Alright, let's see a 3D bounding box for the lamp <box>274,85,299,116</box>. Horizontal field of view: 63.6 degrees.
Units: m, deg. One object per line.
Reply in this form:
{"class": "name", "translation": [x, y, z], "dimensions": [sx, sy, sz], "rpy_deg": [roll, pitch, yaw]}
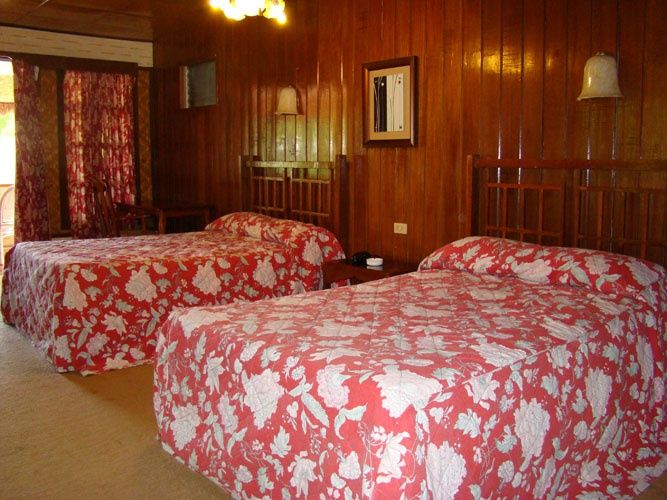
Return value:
{"class": "lamp", "translation": [-0.414, -1.361, 4.884], "dimensions": [0.230, 0.296, 0.240], "rpy_deg": [6, 14, 20]}

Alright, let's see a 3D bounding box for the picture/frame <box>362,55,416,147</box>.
{"class": "picture/frame", "translation": [0.429, -1.173, 4.284], "dimensions": [0.444, 0.612, 0.041], "rpy_deg": [8, 14, 36]}
